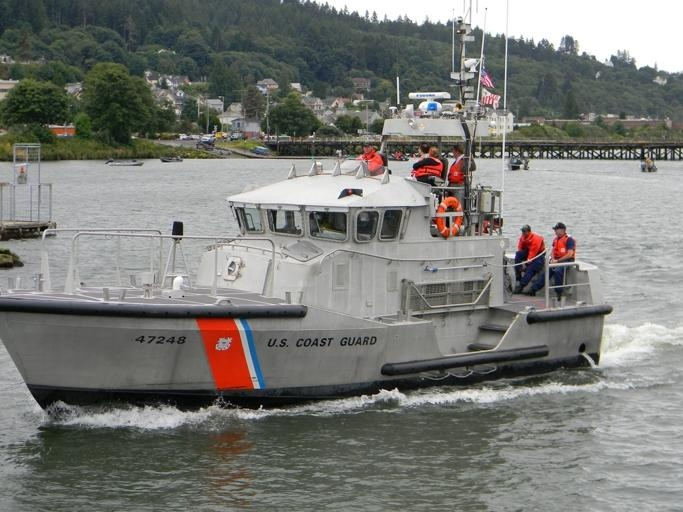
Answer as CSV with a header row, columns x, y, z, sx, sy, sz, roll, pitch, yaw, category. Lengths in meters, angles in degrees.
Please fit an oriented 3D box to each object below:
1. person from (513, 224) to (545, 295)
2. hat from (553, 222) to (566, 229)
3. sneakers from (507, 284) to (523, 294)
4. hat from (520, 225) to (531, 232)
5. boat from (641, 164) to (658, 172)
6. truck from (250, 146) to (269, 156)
x,y,z,sx,sy,sz,roll,pitch,yaw,category
4.302,0.029,27.500,0.939,1.396,0.848,1,17,17,person
4.944,-0.660,27.165,0.308,0.136,0.196,7,5,0,hat
3.944,0.768,27.412,0.165,0.167,0.449,-1,-6,21,sneakers
4.139,-0.601,27.254,0.240,0.190,0.256,0,1,17,hat
23.171,-6.608,91.257,0.928,0.384,1.168,0,4,0,boat
-9.242,-11.692,135.654,1.124,0.552,1.818,-5,16,-34,truck
